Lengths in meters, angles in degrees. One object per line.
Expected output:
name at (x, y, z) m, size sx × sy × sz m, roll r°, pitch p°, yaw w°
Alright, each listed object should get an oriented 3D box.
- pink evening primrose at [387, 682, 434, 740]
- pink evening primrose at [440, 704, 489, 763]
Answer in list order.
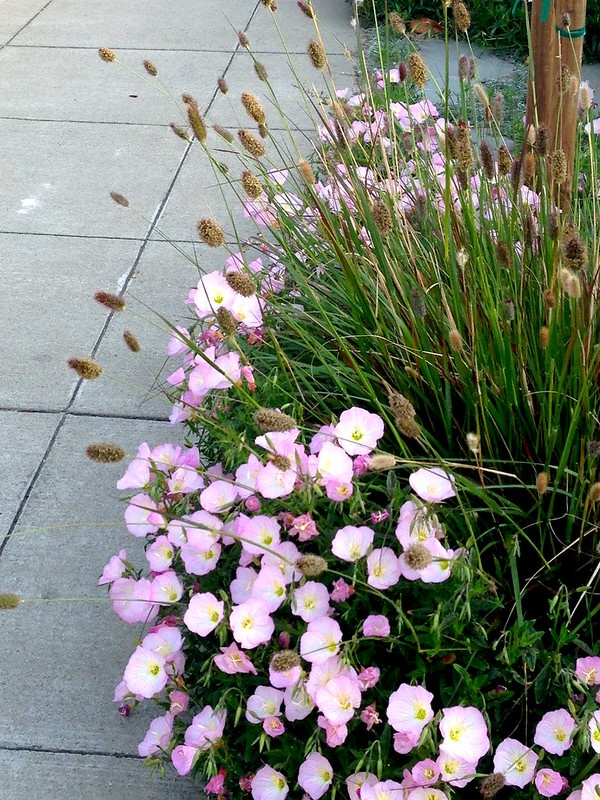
pink evening primrose at (0.187, 0.501, 1.153) m, size 0.087 × 0.036 × 0.081 m, roll -13°, pitch 24°, yaw -5°
pink evening primrose at (0.251, 0.529, 1.126) m, size 0.071 × 0.075 × 0.094 m, roll -3°, pitch 28°, yaw 9°
